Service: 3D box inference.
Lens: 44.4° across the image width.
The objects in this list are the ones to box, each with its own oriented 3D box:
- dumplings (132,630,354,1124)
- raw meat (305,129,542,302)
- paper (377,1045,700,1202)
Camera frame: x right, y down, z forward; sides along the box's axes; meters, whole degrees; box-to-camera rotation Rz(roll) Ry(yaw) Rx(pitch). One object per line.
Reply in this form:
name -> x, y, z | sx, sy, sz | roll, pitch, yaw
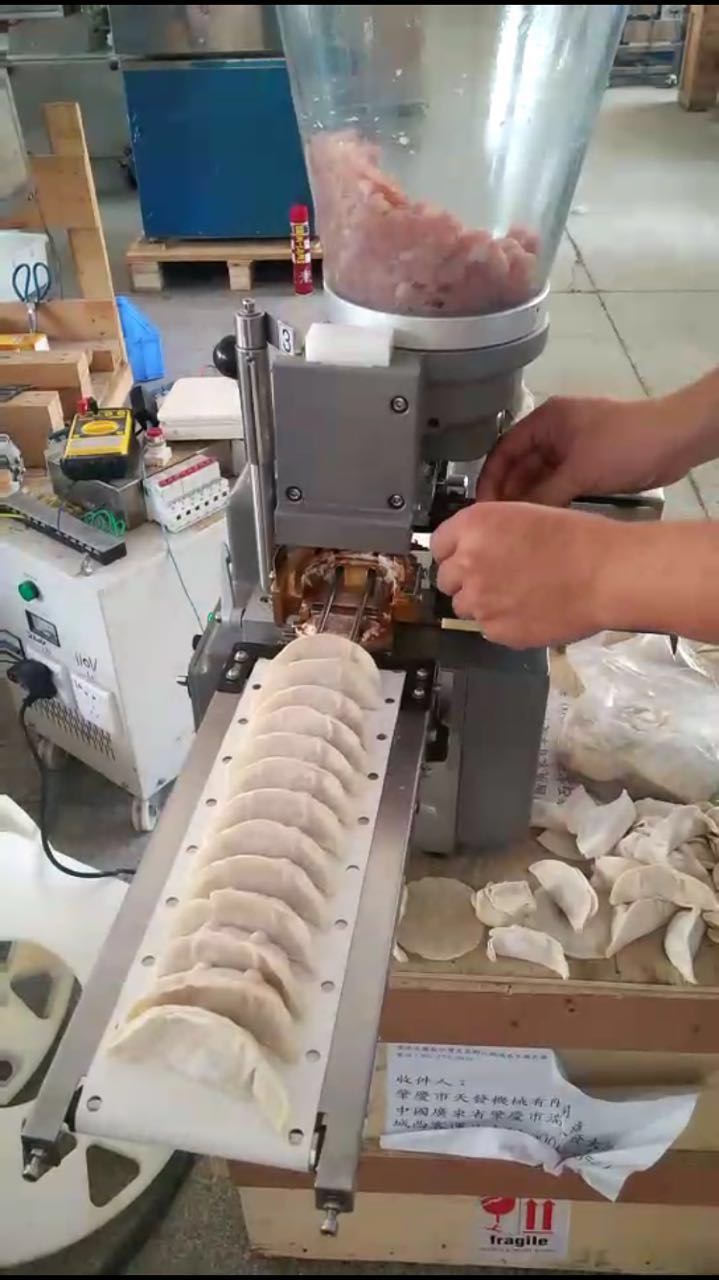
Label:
dumplings -> -0.055, 0.162, 0.680 | 0.098, 0.105, 0.296 | 12, 49, 10
raw meat -> 0.052, -0.364, 0.821 | 0.202, 0.086, 0.161 | 11, 37, 4
paper -> 0.232, 0.611, 1.131 | 0.374, 0.138, 0.159 | 4, 18, 1
